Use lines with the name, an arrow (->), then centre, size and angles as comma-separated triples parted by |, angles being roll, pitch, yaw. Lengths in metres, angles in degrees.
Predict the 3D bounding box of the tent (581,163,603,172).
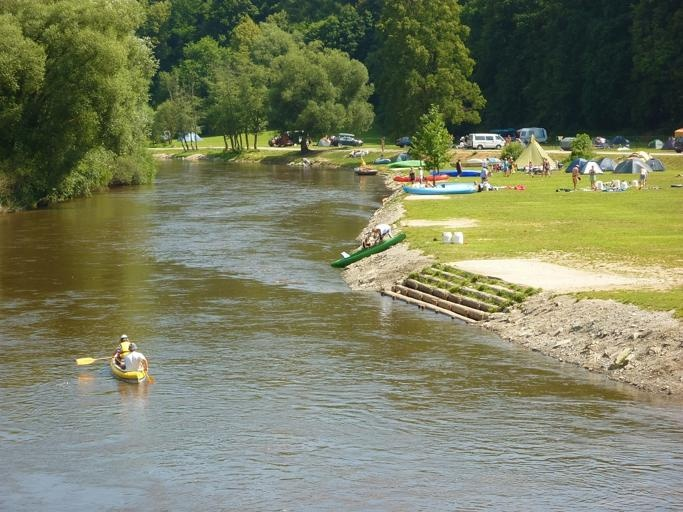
tent -> 24.021, -8.526, 129.686 | 1.971, 0.771, 1.874 | -1, -1, 0

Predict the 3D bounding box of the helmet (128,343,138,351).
helmet -> -11.083, 4.814, 71.369 | 0.359, 0.271, 0.445 | 0, 8, -9

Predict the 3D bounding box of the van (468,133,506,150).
van -> 18.424, -14.674, 172.701 | 3.853, 1.465, 2.207 | -2, 9, -6

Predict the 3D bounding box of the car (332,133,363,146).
car -> 0.649, -17.318, 203.510 | 4.391, 1.845, 2.425 | 0, 8, 10

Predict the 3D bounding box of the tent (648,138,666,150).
tent -> 37.475, -13.257, 160.591 | 1.737, 0.677, 1.647 | 0, 8, 4

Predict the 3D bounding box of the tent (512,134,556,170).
tent -> 20.343, -11.736, 143.949 | 3.426, 1.898, 4.017 | 15, 30, 27

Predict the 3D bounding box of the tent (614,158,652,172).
tent -> 28.105, -8.688, 131.057 | 1.312, 1.412, 3.049 | -13, 15, -41
